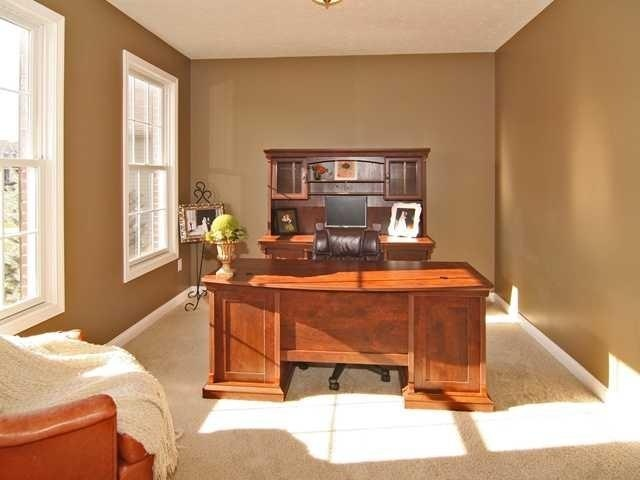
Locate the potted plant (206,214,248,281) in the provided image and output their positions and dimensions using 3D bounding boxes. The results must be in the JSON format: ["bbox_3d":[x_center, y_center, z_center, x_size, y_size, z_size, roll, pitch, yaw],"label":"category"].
[{"bbox_3d":[-0.707,0.054,3.674,0.288,0.463,0.173,-4,14,-14],"label":"potted plant"}]

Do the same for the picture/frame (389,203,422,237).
[{"bbox_3d":[1.042,-0.233,5.742,0.368,0.411,0.033,5,-6,32],"label":"picture/frame"}]

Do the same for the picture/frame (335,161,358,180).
[{"bbox_3d":[0.330,-0.854,5.904,0.230,0.213,0.032,1,3,1],"label":"picture/frame"}]
